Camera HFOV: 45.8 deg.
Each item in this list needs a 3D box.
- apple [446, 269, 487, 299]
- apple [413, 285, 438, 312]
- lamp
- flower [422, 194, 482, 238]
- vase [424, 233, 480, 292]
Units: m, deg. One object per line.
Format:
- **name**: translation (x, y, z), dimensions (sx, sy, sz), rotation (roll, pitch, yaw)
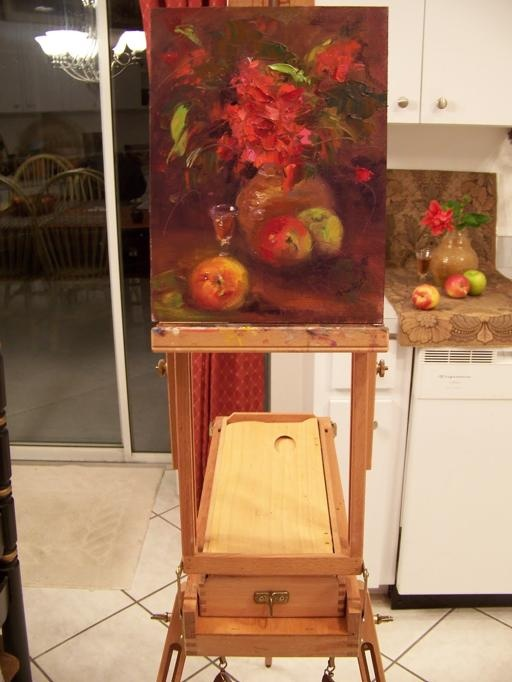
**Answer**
- **apple**: translation (0.602, -0.162, 1.787), dimensions (0.125, 0.081, 0.110), rotation (-6, 1, 3)
- **apple**: translation (0.450, -0.119, 1.621), dimensions (0.068, 0.063, 0.092), rotation (3, 13, 12)
- **lamp**: translation (-0.619, -1.093, 2.293), dimensions (0.287, 0.289, 0.351), rotation (-8, 21, -17)
- **flower**: translation (0.623, -0.393, 1.942), dimensions (0.185, 0.130, 0.420), rotation (4, 13, 14)
- **vase**: translation (0.556, -0.243, 1.852), dimensions (0.157, 0.201, 0.154), rotation (2, 18, 12)
